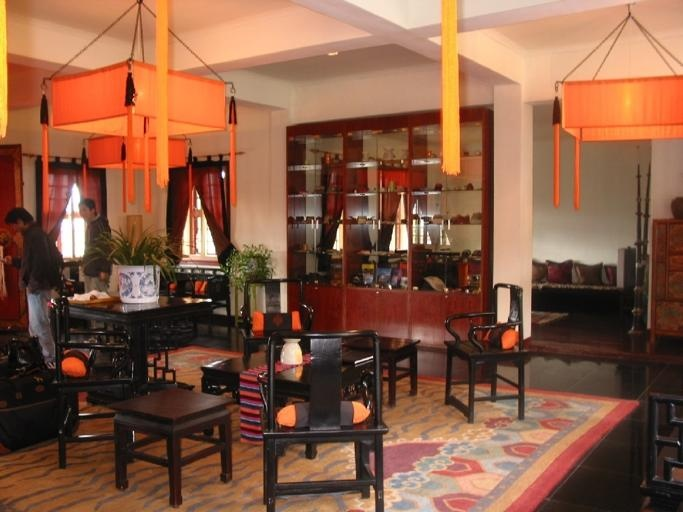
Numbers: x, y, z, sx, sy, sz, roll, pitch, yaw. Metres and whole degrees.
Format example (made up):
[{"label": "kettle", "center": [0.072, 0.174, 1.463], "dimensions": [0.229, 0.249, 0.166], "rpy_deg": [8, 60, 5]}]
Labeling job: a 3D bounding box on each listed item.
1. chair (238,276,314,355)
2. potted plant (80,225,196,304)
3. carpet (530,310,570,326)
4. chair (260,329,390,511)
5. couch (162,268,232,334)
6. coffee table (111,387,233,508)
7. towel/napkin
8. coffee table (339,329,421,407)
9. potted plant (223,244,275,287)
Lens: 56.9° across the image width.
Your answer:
[{"label": "chair", "center": [-0.617, 0.780, 6.247], "dimensions": [0.750, 1.118, 0.805], "rpy_deg": [-2, 0, 1]}, {"label": "potted plant", "center": [-1.906, 0.096, 5.906], "dimensions": [0.690, 0.680, 0.515], "rpy_deg": [-1, 7, -5]}, {"label": "carpet", "center": [3.336, 0.971, 10.062], "dimensions": [0.540, 0.078, 1.329], "rpy_deg": [2, 8, 18]}, {"label": "chair", "center": [-0.120, 1.025, 4.087], "dimensions": [0.801, 1.286, 0.879], "rpy_deg": [-2, 7, -8]}, {"label": "couch", "center": [-2.037, 0.650, 9.708], "dimensions": [0.336, 0.685, 1.075], "rpy_deg": [-12, -5, 15]}, {"label": "coffee table", "center": [-1.232, 1.193, 4.389], "dimensions": [0.709, 0.707, 0.724], "rpy_deg": [2, 3, 36]}, {"label": "towel/napkin", "center": [-0.380, 1.241, 5.095], "dimensions": [0.763, 0.545, 0.442], "rpy_deg": [5, 2, 1]}, {"label": "coffee table", "center": [0.425, 1.052, 6.090], "dimensions": [0.524, 0.450, 0.546], "rpy_deg": [-4, -13, 43]}, {"label": "potted plant", "center": [-1.281, 0.150, 9.274], "dimensions": [0.613, 0.644, 0.610], "rpy_deg": [-8, 12, 1]}]
